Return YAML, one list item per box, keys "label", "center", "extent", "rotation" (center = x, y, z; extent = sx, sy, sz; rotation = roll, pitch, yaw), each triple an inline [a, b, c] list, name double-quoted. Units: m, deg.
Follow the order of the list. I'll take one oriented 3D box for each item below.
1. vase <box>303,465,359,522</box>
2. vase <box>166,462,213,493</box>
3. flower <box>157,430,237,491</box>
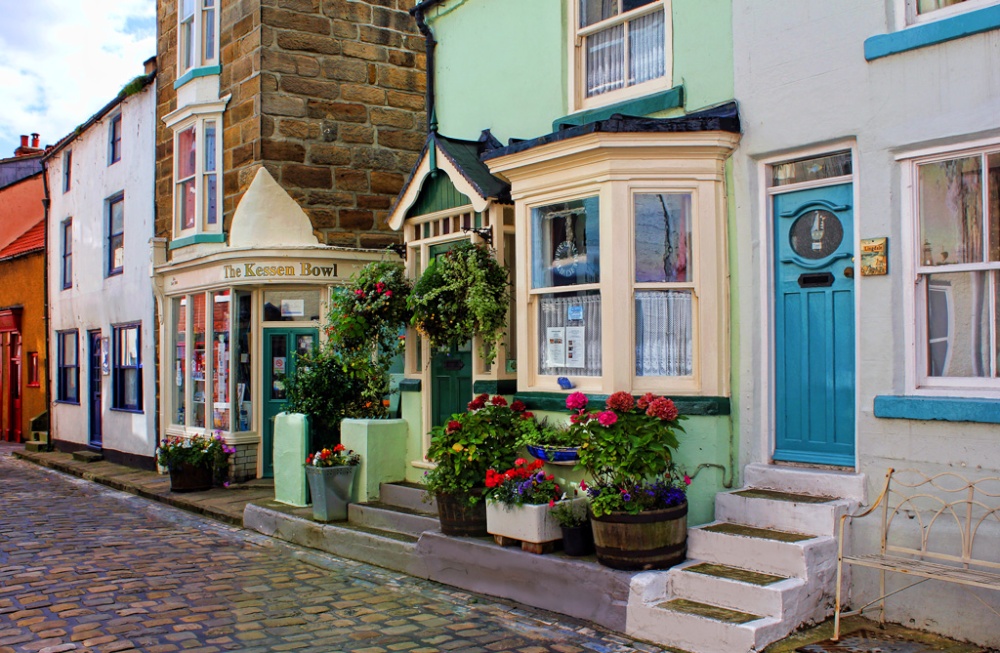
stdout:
- label: "vase"
  center: [-2.405, 2.340, 13.741]
  extent: [0.760, 0.706, 0.781]
  rotation: [-6, -8, 25]
- label: "vase"
  center: [-5.410, 2.590, 16.845]
  extent: [0.532, 0.352, 0.528]
  rotation: [-1, -6, 16]
- label: "flower"
  center: [-5.372, 2.361, 17.109]
  extent: [1.028, 0.948, 1.114]
  rotation: [1, -3, -33]
